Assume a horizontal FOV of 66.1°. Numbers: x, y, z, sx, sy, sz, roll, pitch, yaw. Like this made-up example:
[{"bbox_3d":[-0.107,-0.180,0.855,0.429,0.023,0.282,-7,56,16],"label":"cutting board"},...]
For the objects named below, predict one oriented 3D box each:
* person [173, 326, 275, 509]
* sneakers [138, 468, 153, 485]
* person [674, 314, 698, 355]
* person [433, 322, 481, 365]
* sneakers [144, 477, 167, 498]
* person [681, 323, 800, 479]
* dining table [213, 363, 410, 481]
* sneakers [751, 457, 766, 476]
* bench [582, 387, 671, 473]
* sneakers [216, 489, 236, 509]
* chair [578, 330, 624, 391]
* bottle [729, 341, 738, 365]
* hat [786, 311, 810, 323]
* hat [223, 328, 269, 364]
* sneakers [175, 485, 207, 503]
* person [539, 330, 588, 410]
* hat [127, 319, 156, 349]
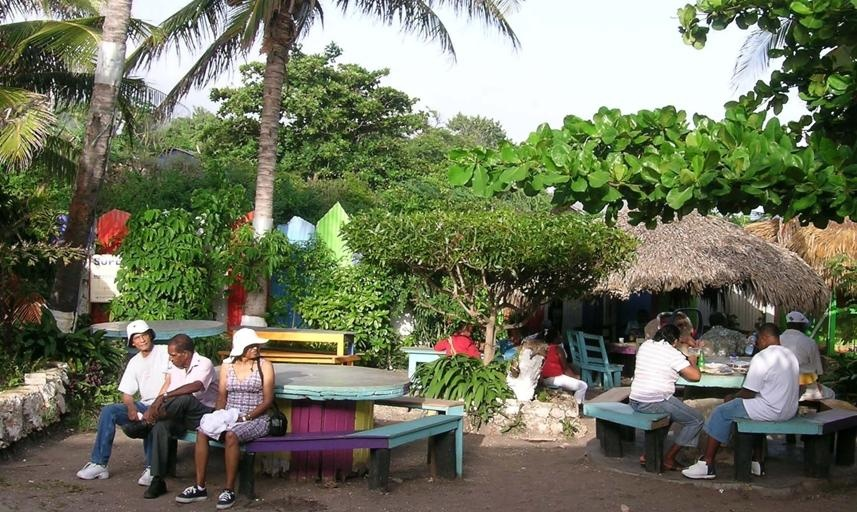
[{"bbox_3d":[-2.568,2.078,8.620,1.110,2.221,0.745,0,5,-14],"label":"person"},{"bbox_3d":[-3.843,3.019,9.021,0.139,0.157,0.375,6,-3,-16],"label":"sneakers"},{"bbox_3d":[4.505,1.493,11.802,0.297,0.803,0.570,-13,-3,18],"label":"person"},{"bbox_3d":[0.620,1.718,13.319,0.758,0.663,1.103,-3,6,-45],"label":"person"},{"bbox_3d":[-3.559,3.026,8.648,0.273,0.236,0.201,0,5,-22],"label":"sneakers"},{"bbox_3d":[4.519,2.241,9.406,1.407,1.932,0.345,1,5,-5],"label":"person"},{"bbox_3d":[-1.399,2.334,9.334,1.657,0.787,1.642,0,-3,9],"label":"dining table"},{"bbox_3d":[4.759,3.084,9.636,0.145,0.160,0.383,0,1,1],"label":"sneakers"},{"bbox_3d":[3.161,2.609,10.195,1.352,0.650,0.961,5,9,42],"label":"bench"},{"bbox_3d":[-2.564,3.095,8.451,0.277,0.219,0.203,-1,6,-34],"label":"sneakers"},{"bbox_3d":[4.220,2.654,16.207,0.853,1.437,0.907,9,-7,-32],"label":"chair"},{"bbox_3d":[5.946,1.892,12.916,0.102,0.324,0.132,10,-28,19],"label":"bottle"},{"bbox_3d":[6.497,1.082,11.626,0.311,0.144,0.217,-3,6,-20],"label":"hat"},{"bbox_3d":[-2.436,1.173,8.943,0.462,0.293,0.575,-28,-3,-5],"label":"hat"},{"bbox_3d":[-3.038,3.104,8.580,0.421,0.172,0.168,7,-3,-19],"label":"sneakers"},{"bbox_3d":[2.774,2.347,13.629,0.881,1.534,1.195,3,5,11],"label":"person"},{"bbox_3d":[-4.148,1.050,9.468,0.408,0.259,0.502,-11,-21,-18],"label":"hat"}]
